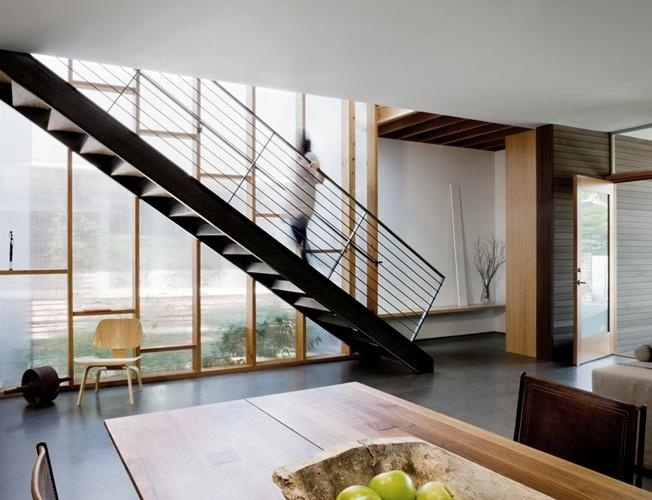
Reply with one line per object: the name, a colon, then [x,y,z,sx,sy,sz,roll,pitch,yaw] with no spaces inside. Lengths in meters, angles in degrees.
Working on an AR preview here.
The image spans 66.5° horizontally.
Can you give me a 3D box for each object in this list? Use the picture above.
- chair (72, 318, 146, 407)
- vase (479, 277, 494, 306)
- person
chair: [-2.291,1.172,5.348,0.638,0.795,0.561,0,-2,-10]
vase: [2.970,0.752,9.201,0.208,0.446,0.386,1,3,17]
person: [-0.279,-0.736,6.743,0.487,1.763,0.642,0,3,4]
